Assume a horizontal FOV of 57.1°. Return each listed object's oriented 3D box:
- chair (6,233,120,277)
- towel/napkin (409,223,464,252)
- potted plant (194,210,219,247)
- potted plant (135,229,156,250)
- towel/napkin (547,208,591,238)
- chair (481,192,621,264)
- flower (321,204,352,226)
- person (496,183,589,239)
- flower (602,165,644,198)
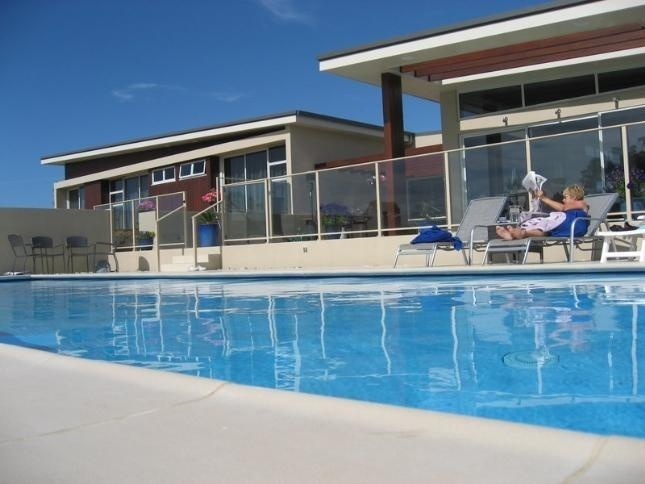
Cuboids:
[{"bbox_3d":[-6.841,0.326,15.590,1.268,1.040,2.798,-4,0,41],"label":"chair"},{"bbox_3d":[1.737,-0.062,8.867,0.728,0.373,0.488,-4,0,41],"label":"towel/napkin"},{"bbox_3d":[-2.555,-0.320,13.338,0.583,0.834,0.201,-5,0,31],"label":"potted plant"},{"bbox_3d":[-4.623,-0.032,15.456,0.683,0.560,0.492,1,-6,-13],"label":"potted plant"},{"bbox_3d":[3.140,-0.239,7.559,0.515,0.279,0.348,-5,4,-4],"label":"towel/napkin"},{"bbox_3d":[3.105,-0.124,7.917,1.971,0.866,1.056,2,-5,-33],"label":"chair"},{"bbox_3d":[0.231,-0.513,11.303,0.523,0.446,0.216,0,-23,16],"label":"flower"},{"bbox_3d":[3.124,-0.347,7.777,0.398,0.482,0.922,-6,-9,-38],"label":"person"},{"bbox_3d":[4.322,-0.866,8.479,0.521,0.458,0.137,-4,0,28],"label":"flower"}]
